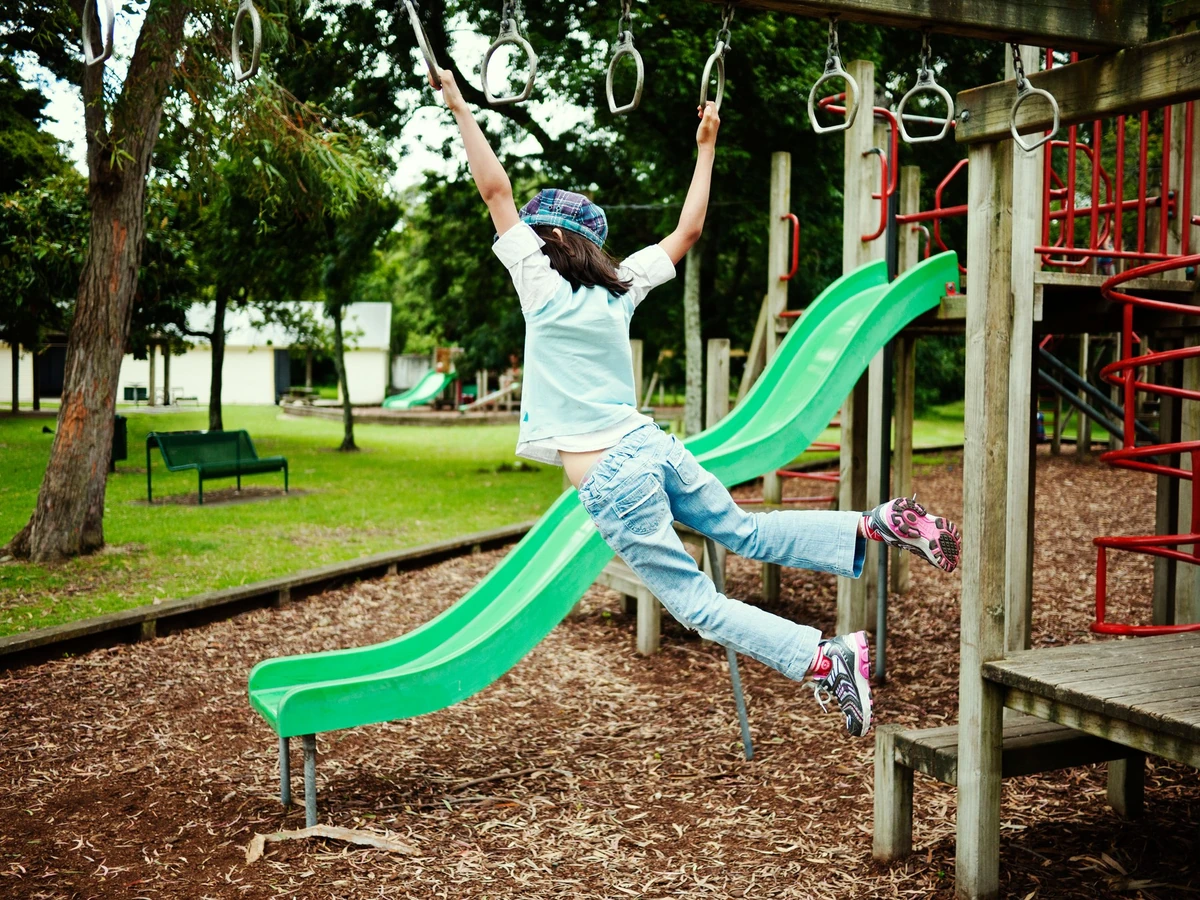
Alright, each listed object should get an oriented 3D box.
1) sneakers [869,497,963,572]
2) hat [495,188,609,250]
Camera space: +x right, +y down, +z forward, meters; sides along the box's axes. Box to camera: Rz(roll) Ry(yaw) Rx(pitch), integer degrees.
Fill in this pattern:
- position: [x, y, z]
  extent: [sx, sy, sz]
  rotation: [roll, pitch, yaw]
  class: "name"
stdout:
- position: [1.448, 0.316, 6.944]
  extent: [0.217, 0.241, 0.488]
  rotation: [31, -9, -18]
  class: "sneakers"
- position: [-0.178, -1.104, 7.045]
  extent: [0.359, 0.175, 0.264]
  rotation: [21, 6, 7]
  class: "hat"
